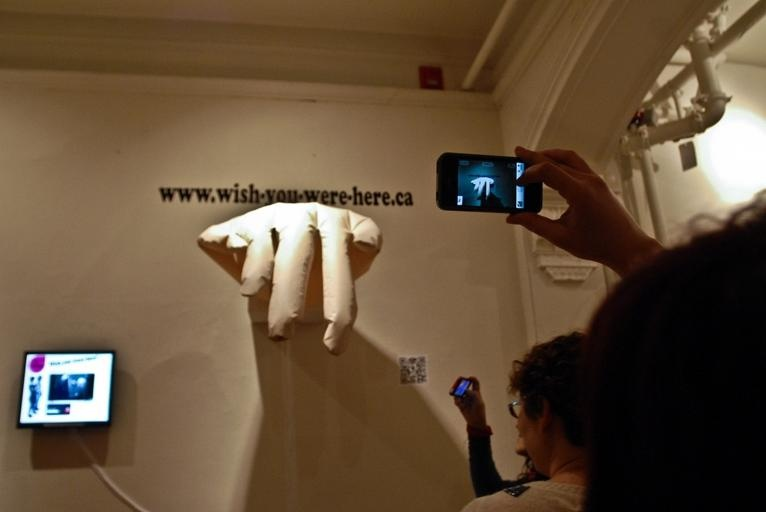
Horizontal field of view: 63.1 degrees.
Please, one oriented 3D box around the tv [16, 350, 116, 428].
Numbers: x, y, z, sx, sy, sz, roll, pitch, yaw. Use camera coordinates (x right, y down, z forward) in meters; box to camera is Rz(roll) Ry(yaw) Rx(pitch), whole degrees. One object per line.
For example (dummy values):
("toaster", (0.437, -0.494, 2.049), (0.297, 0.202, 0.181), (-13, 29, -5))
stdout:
("tv", (-1.919, 0.825, 3.751), (0.448, 0.416, 0.046), (1, -21, -5))
